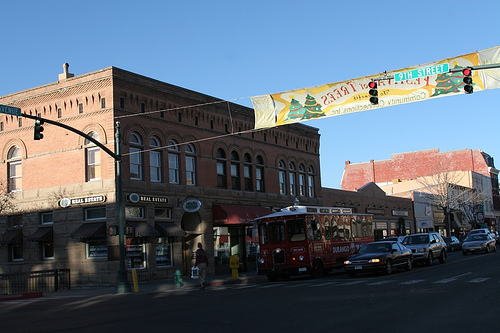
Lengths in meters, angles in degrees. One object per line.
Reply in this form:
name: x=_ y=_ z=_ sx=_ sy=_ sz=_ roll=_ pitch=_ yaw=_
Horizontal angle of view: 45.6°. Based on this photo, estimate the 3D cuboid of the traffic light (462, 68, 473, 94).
traffic light: x=10.235 y=-4.032 z=27.993 sx=0.471 sy=1.087 sz=0.576 roll=-10 pitch=-15 yaw=12

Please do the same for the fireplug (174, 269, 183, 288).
fireplug: x=-4.137 y=6.350 z=33.827 sx=0.385 sy=1.059 sz=0.742 roll=-5 pitch=-15 yaw=-8

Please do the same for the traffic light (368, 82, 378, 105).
traffic light: x=5.951 y=-3.570 z=28.851 sx=0.415 sy=1.012 sz=0.522 roll=-6 pitch=-15 yaw=-4

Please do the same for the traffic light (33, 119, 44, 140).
traffic light: x=-10.916 y=-1.978 z=30.654 sx=0.390 sy=1.144 sz=0.949 roll=-1 pitch=-16 yaw=-22

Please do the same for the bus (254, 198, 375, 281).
bus: x=3.734 y=4.608 z=35.604 sx=3.805 sy=4.192 sz=11.132 roll=-3 pitch=-4 yaw=38
